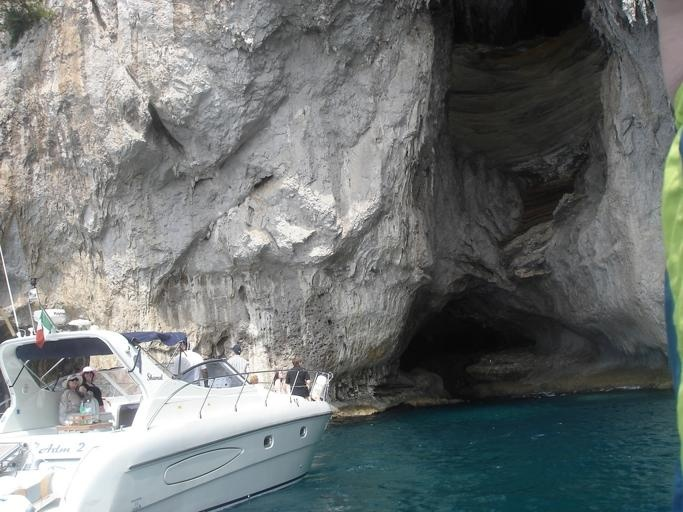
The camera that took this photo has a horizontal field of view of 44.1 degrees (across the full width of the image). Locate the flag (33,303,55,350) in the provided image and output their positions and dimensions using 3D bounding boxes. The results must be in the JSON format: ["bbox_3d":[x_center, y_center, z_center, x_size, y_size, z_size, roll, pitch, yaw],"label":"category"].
[{"bbox_3d":[-5.368,1.204,15.330,0.358,0.712,0.261,-5,2,-22],"label":"flag"}]

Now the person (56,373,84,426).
[{"bbox_3d":[-5.018,2.573,15.677,0.337,1.051,0.453,-28,-37,21],"label":"person"}]

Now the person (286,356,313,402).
[{"bbox_3d":[-0.941,2.790,18.364,0.495,1.505,0.468,-2,9,-5],"label":"person"}]
